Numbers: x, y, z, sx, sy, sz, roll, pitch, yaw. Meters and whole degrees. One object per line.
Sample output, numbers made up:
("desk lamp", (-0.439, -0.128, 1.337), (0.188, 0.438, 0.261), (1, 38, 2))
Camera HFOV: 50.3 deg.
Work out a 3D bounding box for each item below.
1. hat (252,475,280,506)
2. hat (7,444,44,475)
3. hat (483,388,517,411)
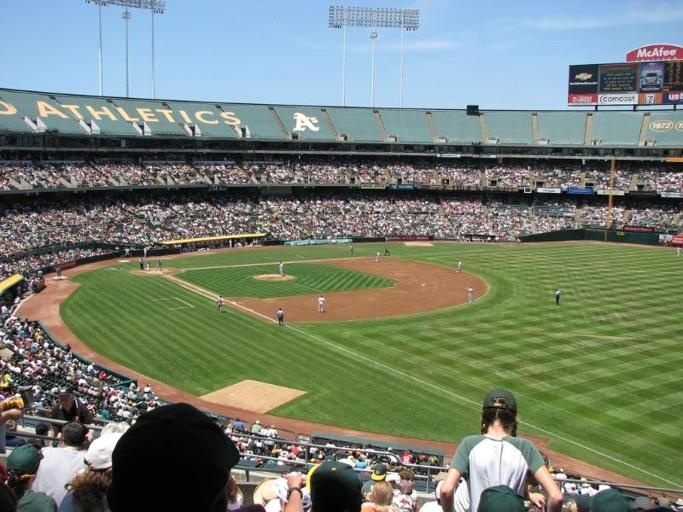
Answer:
("hat", (-1.579, 4.984, 15.501), (0.921, 0.721, 0.517), (2, 47, -8))
("hat", (-6.262, 3.991, 14.373), (0.553, 0.318, 0.686), (5, 14, -9))
("hat", (3.212, 2.924, 14.703), (0.588, 0.392, 0.536), (-8, 12, -41))
